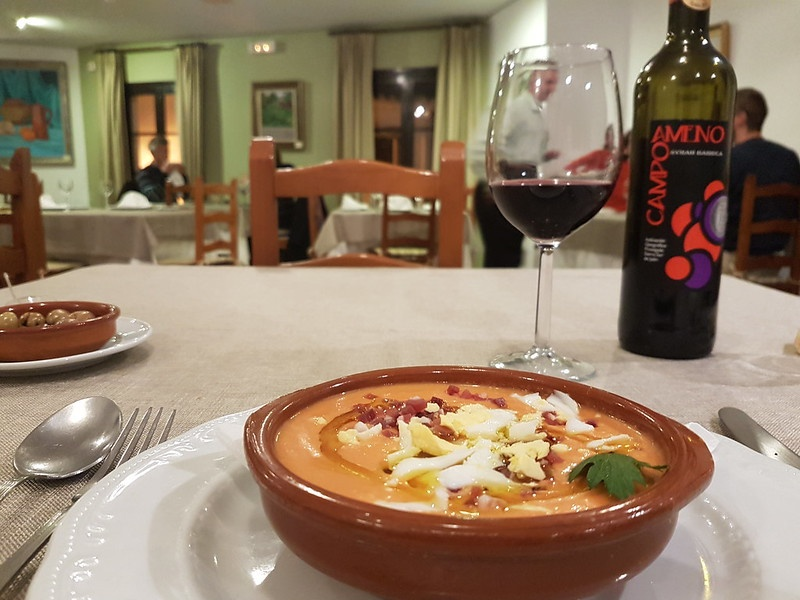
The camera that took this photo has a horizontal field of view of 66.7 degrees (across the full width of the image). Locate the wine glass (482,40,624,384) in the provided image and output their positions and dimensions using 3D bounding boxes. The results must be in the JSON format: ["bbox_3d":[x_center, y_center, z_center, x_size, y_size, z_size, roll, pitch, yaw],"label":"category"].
[{"bbox_3d":[0.157,-0.089,0.625,0.122,0.323,0.177,10,16,40],"label":"wine glass"}]

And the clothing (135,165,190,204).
[{"bbox_3d":[-2.074,-1.006,5.243,0.384,0.307,0.744,-6,13,-23],"label":"clothing"}]

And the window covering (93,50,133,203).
[{"bbox_3d":[-3.805,-2.321,8.084,0.405,1.927,0.283,-4,13,-18],"label":"window covering"}]
